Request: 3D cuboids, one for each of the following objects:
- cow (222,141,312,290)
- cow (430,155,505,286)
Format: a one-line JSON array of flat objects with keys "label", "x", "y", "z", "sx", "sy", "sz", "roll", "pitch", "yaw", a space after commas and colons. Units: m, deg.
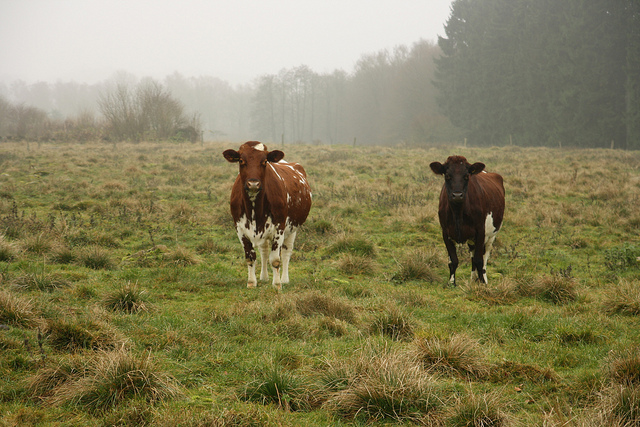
[{"label": "cow", "x": -1.785, "y": -0.053, "z": 25.076, "sx": 1.795, "sy": 5.259, "sz": 3.085, "roll": 5, "pitch": 9, "yaw": 35}, {"label": "cow", "x": 5.792, "y": 0.187, "z": 25.598, "sx": 2.538, "sy": 4.726, "sz": 1.729, "roll": -4, "pitch": 9, "yaw": -30}]
